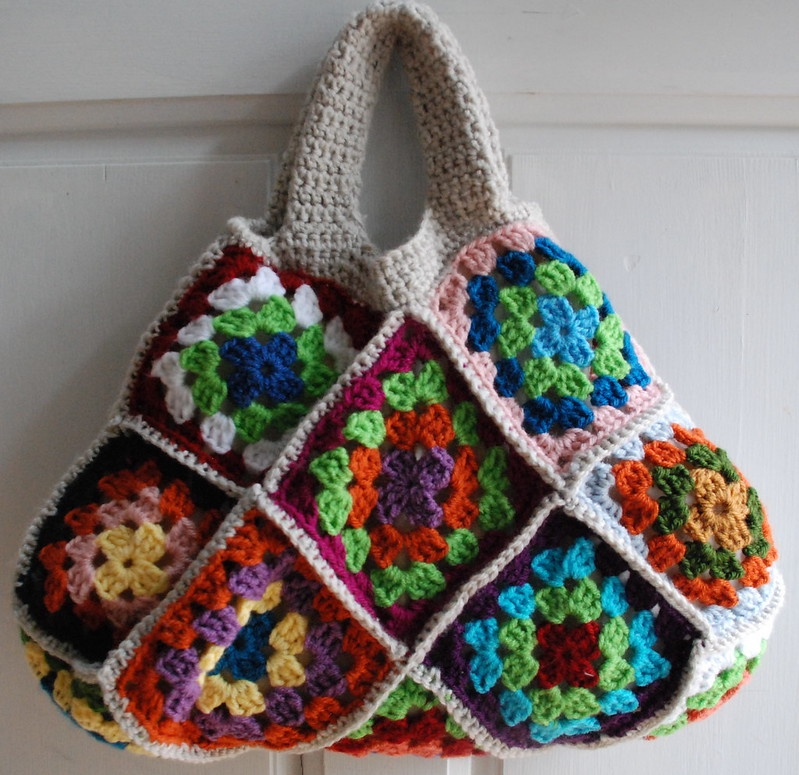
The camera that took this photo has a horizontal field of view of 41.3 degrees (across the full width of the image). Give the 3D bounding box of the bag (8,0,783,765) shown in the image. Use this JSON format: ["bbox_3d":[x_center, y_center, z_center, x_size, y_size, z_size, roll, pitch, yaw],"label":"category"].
[{"bbox_3d":[-0.031,-0.013,1.252,0.783,0.268,0.925,0,91,-4],"label":"bag"}]
